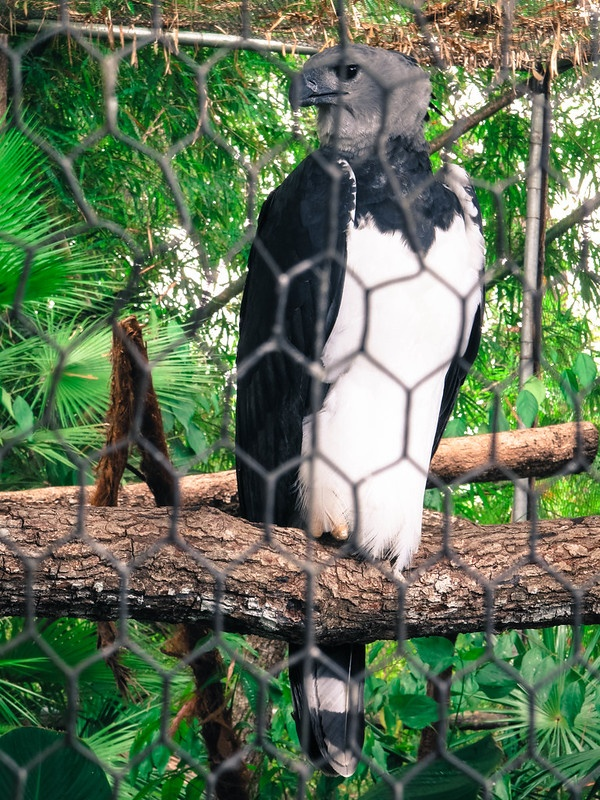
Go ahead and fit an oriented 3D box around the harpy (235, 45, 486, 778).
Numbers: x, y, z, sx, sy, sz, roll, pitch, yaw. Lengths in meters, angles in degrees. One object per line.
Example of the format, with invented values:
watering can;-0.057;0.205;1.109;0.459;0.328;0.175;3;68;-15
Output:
harpy;0.159;-0.043;3.165;0.606;1.719;1.078;2;-9;-2
